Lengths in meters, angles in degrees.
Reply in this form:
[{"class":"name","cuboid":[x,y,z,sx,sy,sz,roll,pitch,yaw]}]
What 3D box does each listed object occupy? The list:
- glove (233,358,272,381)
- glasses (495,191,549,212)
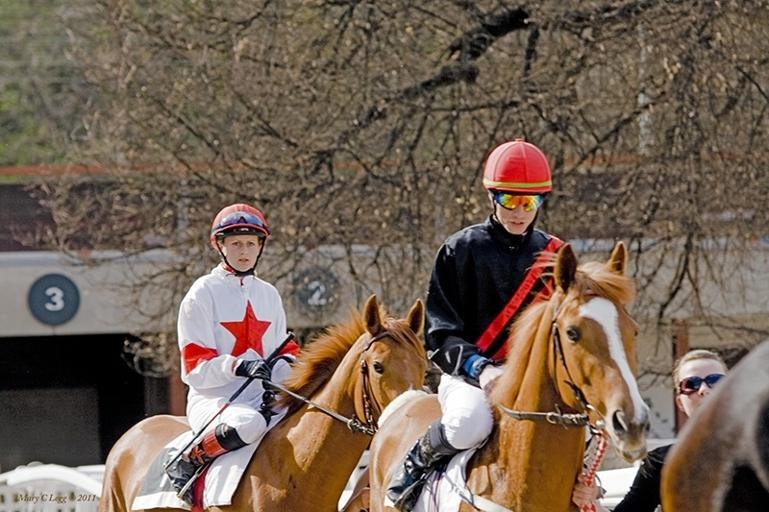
[{"class":"glove","cuboid":[-1.486,1.303,24.325,0.296,0.125,0.247,2,-15,8]},{"class":"glasses","cuboid":[1.475,-0.614,23.545,0.548,0.204,0.120,1,-4,-1]}]
